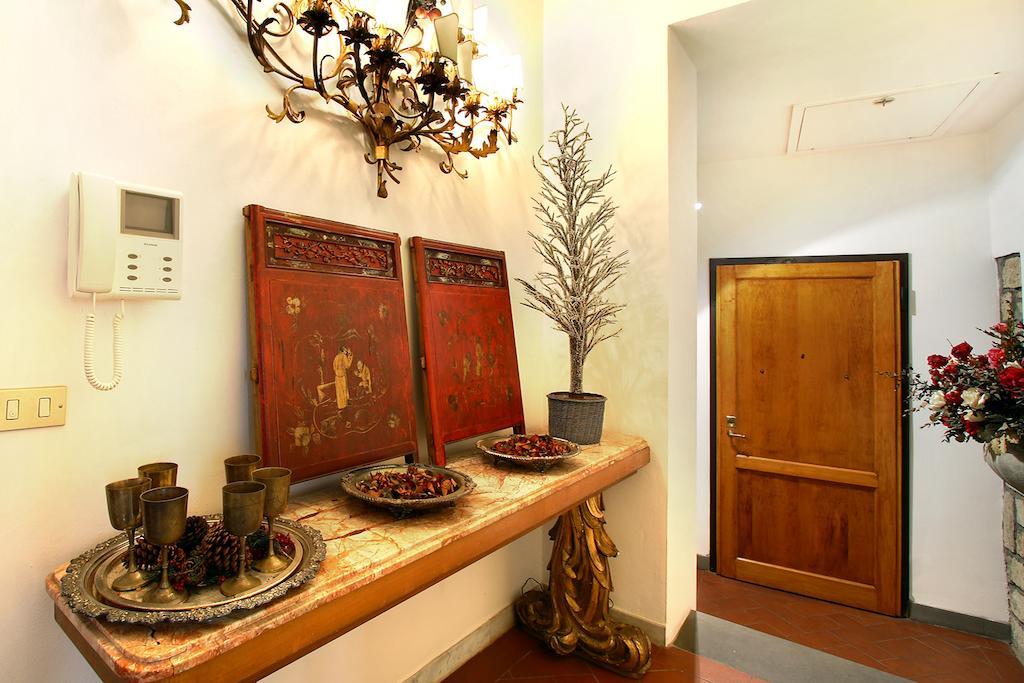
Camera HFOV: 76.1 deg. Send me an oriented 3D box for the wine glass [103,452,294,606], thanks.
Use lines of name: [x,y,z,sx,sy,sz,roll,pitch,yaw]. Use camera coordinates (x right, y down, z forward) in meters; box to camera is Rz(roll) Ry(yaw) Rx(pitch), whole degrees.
wine glass: [-1.063,0.662,2.220,0.649,0.246,0.296,-5,4,-22]

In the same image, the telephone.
telephone: [-1.442,-0.383,2.422,0.474,0.615,0.181,2,-4,-39]

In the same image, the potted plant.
potted plant: [0.273,-0.412,3.611,0.561,1.878,0.631,-1,5,35]
